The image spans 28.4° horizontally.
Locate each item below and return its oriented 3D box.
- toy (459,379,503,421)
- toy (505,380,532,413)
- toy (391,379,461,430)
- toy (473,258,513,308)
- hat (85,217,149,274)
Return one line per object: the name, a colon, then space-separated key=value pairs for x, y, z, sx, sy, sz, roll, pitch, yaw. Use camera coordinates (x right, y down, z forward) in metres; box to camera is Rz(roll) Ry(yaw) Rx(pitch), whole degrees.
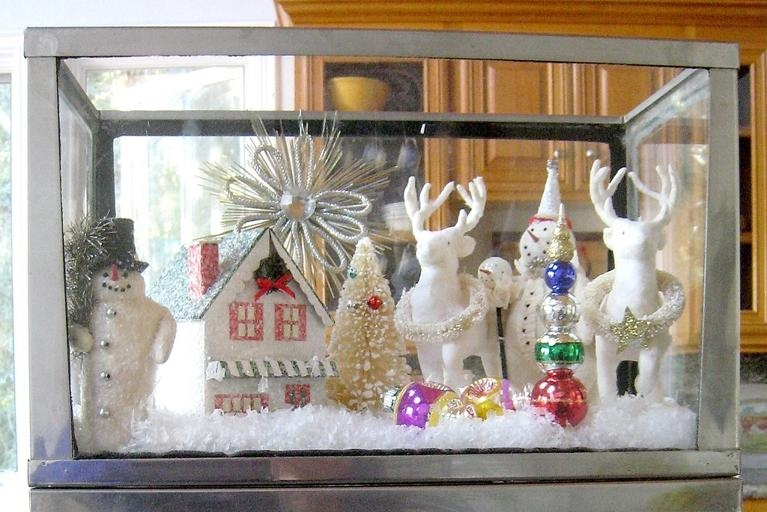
toy: x=0.240 y=0.338 z=3.574 sx=0.090 sy=0.067 sz=0.089 roll=-3 pitch=-4 yaw=-2
toy: x=0.317 y=0.327 z=3.585 sx=0.043 sy=0.070 sz=0.072 roll=5 pitch=-17 yaw=-17
toy: x=0.106 y=0.341 z=3.553 sx=0.129 sy=0.097 sz=0.097 roll=10 pitch=20 yaw=20
toy: x=0.278 y=0.065 z=3.751 sx=0.089 sy=0.119 sz=0.060 roll=-5 pitch=-18 yaw=9
hat: x=-0.629 y=-0.017 z=3.578 sx=0.160 sy=0.143 sz=0.160 roll=1 pitch=-12 yaw=-26
